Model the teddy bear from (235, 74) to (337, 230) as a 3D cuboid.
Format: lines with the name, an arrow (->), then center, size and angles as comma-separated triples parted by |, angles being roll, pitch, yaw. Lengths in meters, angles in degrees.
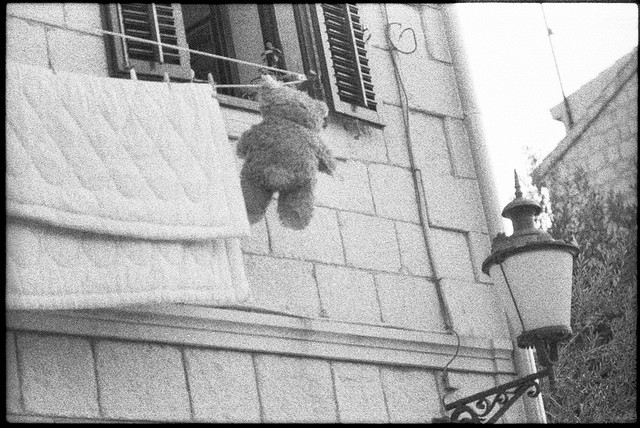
teddy bear -> -0.203, -0.355, 7.566 | 0.503, 0.849, 0.532 | 8, -32, -22
